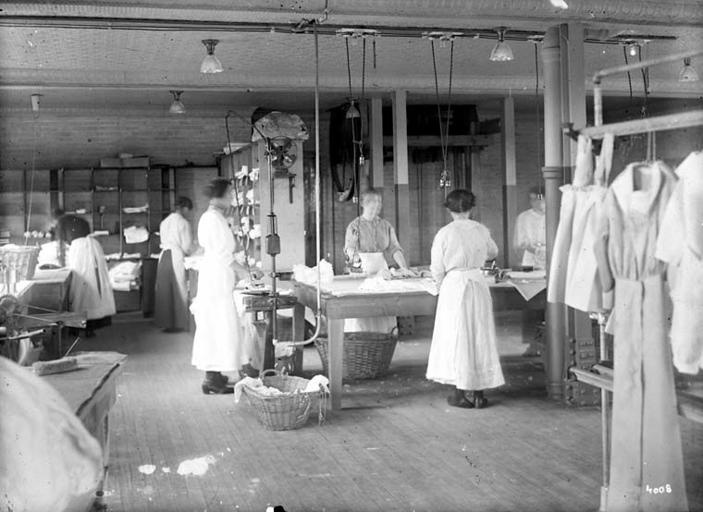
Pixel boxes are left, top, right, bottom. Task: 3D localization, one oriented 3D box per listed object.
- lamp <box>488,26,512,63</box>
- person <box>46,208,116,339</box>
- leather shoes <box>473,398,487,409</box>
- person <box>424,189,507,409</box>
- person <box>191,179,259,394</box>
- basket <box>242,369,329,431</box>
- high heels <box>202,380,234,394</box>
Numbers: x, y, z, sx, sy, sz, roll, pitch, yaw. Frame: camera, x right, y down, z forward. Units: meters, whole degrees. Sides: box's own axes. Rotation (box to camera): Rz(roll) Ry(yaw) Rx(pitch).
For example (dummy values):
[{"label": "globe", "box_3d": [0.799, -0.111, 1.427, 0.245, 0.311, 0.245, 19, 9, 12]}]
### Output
[{"label": "lamp", "box_3d": [1.531, -2.166, 7.021, 0.183, 0.331, 0.470, 1, 7, 12]}, {"label": "person", "box_3d": [-3.849, 0.275, 9.976, 0.699, 1.747, 0.941, -4, 7, -26]}, {"label": "leather shoes", "box_3d": [1.186, 1.346, 6.309, 0.071, 0.057, 0.128, 2, -10, -12]}, {"label": "person", "box_3d": [1.080, 0.388, 6.448, 0.701, 2.006, 0.569, 1, 7, 19]}, {"label": "person", "box_3d": [-1.351, 0.313, 7.026, 0.576, 2.181, 0.674, -2, 7, -13]}, {"label": "basket", "box_3d": [-0.588, 1.237, 6.053, 0.788, 0.420, 0.658, -2, 7, -8]}, {"label": "high heels", "box_3d": [-1.377, 1.330, 7.010, 0.379, 0.181, 0.130, -1, -1, -17]}]
